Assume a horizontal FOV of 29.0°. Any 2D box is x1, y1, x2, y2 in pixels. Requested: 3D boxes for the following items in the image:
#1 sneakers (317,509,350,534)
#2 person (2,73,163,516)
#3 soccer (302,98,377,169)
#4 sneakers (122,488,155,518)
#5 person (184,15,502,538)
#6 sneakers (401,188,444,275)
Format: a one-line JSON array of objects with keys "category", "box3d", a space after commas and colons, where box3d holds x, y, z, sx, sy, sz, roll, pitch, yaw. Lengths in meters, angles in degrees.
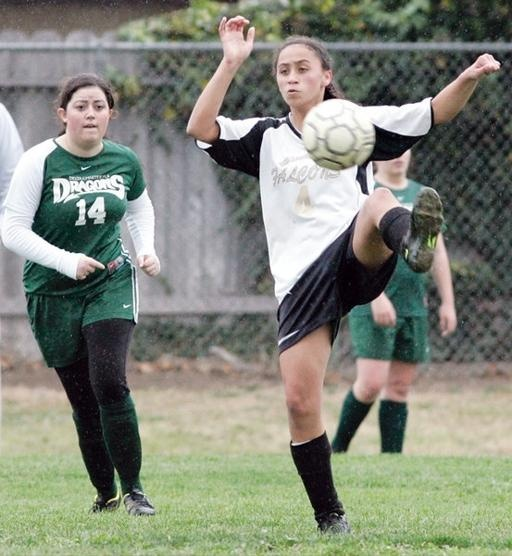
[{"category": "sneakers", "box3d": [0.285, 0.884, 3.585, 0.118, 0.068, 0.099, 2, 6, 3]}, {"category": "person", "box3d": [-0.727, 0.186, 4.133, 0.633, 1.569, 0.580, 1, 5, -7]}, {"category": "soccer", "box3d": [0.292, -0.514, 3.693, 0.267, 0.296, 0.242, -2, -2, 0]}, {"category": "sneakers", "box3d": [-0.470, 0.904, 4.006, 0.060, 0.065, 0.150, -23, 14, -22]}, {"category": "person", "box3d": [0.239, -0.041, 3.689, 0.531, 1.879, 1.017, -3, 7, -41]}, {"category": "sneakers", "box3d": [0.568, -0.162, 3.363, 0.144, 0.289, 0.136, 2, 5, 0]}]
